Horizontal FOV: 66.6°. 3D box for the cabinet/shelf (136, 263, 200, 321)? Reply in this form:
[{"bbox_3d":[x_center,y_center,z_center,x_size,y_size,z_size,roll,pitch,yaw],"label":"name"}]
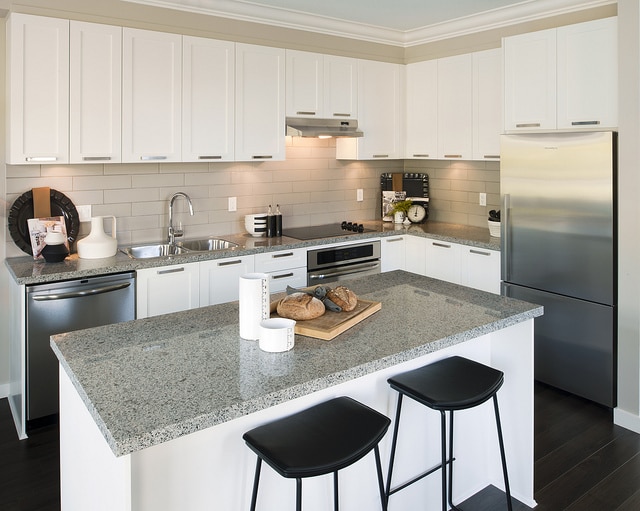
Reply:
[{"bbox_3d":[-1.136,0.244,3.786,0.431,0.551,0.397,-3,6,-33],"label":"cabinet/shelf"}]

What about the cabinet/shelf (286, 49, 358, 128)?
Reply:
[{"bbox_3d":[-0.053,-1.565,4.631,0.858,0.570,0.336,-11,18,-39],"label":"cabinet/shelf"}]

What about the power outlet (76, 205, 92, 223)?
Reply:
[{"bbox_3d":[-1.861,-0.332,3.822,0.153,0.153,0.016,-3,4,-40],"label":"power outlet"}]

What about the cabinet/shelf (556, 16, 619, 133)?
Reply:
[{"bbox_3d":[1.936,-1.283,3.510,0.132,0.731,0.505,-7,16,-22],"label":"cabinet/shelf"}]

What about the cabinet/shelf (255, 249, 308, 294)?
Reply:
[{"bbox_3d":[-0.408,0.135,4.208,0.537,0.346,0.299,-8,9,-43],"label":"cabinet/shelf"}]

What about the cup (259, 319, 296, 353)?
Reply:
[{"bbox_3d":[-0.196,0.299,2.001,0.128,0.094,0.157,-5,-3,18],"label":"cup"}]

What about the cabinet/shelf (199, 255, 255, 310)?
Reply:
[{"bbox_3d":[-0.810,0.139,3.965,0.461,0.393,0.347,-8,23,-30],"label":"cabinet/shelf"}]

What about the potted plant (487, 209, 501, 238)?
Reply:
[{"bbox_3d":[1.571,-0.286,4.376,0.087,0.215,0.209,3,14,14],"label":"potted plant"}]

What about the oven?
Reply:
[{"bbox_3d":[0.130,0.027,4.628,0.844,0.352,0.555,-8,14,-23],"label":"oven"}]

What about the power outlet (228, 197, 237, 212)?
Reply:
[{"bbox_3d":[-0.808,-0.473,4.508,0.099,0.134,0.015,-13,19,-38],"label":"power outlet"}]

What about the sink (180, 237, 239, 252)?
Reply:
[{"bbox_3d":[-1.025,-0.094,4.247,0.285,0.103,0.227,-4,11,-40],"label":"sink"}]

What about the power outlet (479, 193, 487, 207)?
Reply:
[{"bbox_3d":[1.627,-0.552,4.838,0.020,0.130,0.095,-10,17,-30],"label":"power outlet"}]

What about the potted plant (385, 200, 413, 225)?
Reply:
[{"bbox_3d":[0.855,-0.460,5.185,0.252,0.202,0.237,1,3,-1],"label":"potted plant"}]

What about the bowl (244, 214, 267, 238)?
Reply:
[{"bbox_3d":[-0.577,-0.274,4.417,0.198,0.139,0.204,0,2,0],"label":"bowl"}]

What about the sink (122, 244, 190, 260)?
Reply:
[{"bbox_3d":[-1.376,-0.043,4.040,0.271,0.096,0.214,-4,11,-39],"label":"sink"}]

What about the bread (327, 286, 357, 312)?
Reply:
[{"bbox_3d":[0.107,0.193,2.345,0.110,0.034,0.121,-22,47,-39],"label":"bread"}]

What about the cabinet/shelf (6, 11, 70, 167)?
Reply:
[{"bbox_3d":[-1.909,-1.123,3.325,0.470,0.964,0.179,-7,16,-23],"label":"cabinet/shelf"}]

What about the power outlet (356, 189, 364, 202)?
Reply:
[{"bbox_3d":[0.442,-0.655,5.333,0.075,0.131,0.021,-13,19,-39],"label":"power outlet"}]
